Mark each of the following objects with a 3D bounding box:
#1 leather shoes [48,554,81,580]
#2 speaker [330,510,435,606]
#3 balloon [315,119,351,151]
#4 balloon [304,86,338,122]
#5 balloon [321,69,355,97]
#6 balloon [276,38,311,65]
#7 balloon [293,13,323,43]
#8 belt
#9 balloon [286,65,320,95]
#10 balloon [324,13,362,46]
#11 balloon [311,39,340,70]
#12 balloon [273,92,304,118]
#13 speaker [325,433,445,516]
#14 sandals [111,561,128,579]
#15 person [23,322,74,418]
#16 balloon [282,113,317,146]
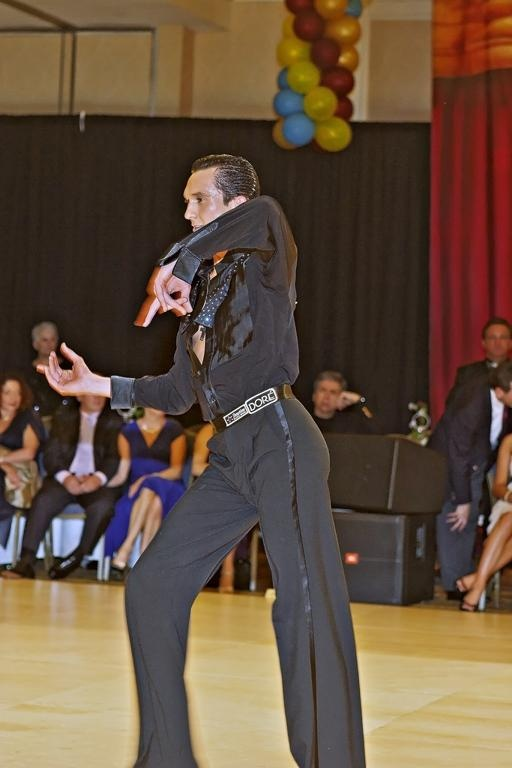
[{"bbox_3d":[-1.012,0.967,4.050,0.154,0.085,0.056,-43,-1,-15],"label":"leather shoes"},{"bbox_3d":[0.612,0.761,3.554,0.459,0.419,0.433,4,-8,20],"label":"speaker"},{"bbox_3d":[0.510,-1.606,4.995,0.179,0.173,0.232,0,7,-37],"label":"balloon"},{"bbox_3d":[0.402,-1.767,4.810,0.198,0.175,0.136,3,7,6],"label":"balloon"},{"bbox_3d":[0.543,-1.902,4.838,0.193,0.140,0.145,12,28,33],"label":"balloon"},{"bbox_3d":[0.221,-2.108,4.868,0.241,0.181,0.097,7,8,36],"label":"balloon"},{"bbox_3d":[0.335,-2.206,4.757,0.167,0.181,0.160,-1,7,8],"label":"balloon"},{"bbox_3d":[-0.004,0.051,1.431,0.118,0.027,0.084,-26,-3,7],"label":"belt"},{"bbox_3d":[0.297,-1.914,4.773,0.195,0.172,0.173,0,6,7],"label":"balloon"},{"bbox_3d":[0.564,-2.215,4.865,0.211,0.187,0.186,-2,6,5],"label":"balloon"},{"bbox_3d":[0.448,-2.071,4.799,0.159,0.164,0.123,-1,8,-30],"label":"balloon"},{"bbox_3d":[0.186,-1.793,4.930,0.175,0.196,0.173,13,31,34],"label":"balloon"},{"bbox_3d":[0.601,0.346,3.550,0.503,0.297,0.426,1,-3,21],"label":"speaker"},{"bbox_3d":[-0.714,0.995,4.059,0.052,0.055,0.150,3,-6,-13],"label":"sandals"},{"bbox_3d":[-1.481,-0.134,5.768,0.244,0.900,0.204,-14,48,-10],"label":"person"},{"bbox_3d":[0.292,-1.620,4.943,0.198,0.206,0.188,-2,1,5],"label":"balloon"}]
